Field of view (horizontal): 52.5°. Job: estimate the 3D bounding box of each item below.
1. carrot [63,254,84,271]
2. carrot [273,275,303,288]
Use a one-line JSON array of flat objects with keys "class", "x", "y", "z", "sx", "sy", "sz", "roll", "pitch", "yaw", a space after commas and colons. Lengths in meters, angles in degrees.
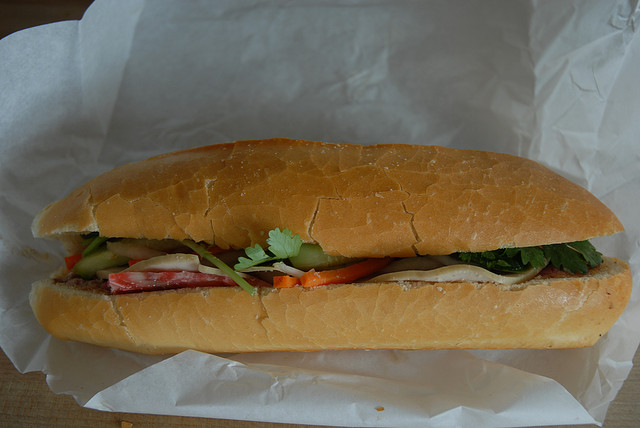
[{"class": "carrot", "x": -1.721, "y": 0.325, "z": 4.508, "sx": 0.133, "sy": 0.033, "sz": 0.095, "roll": 1, "pitch": 83, "yaw": -4}, {"class": "carrot", "x": -0.219, "y": 0.436, "z": 4.241, "sx": 0.181, "sy": 0.032, "sz": 0.079, "roll": -8, "pitch": 76, "yaw": 0}]
